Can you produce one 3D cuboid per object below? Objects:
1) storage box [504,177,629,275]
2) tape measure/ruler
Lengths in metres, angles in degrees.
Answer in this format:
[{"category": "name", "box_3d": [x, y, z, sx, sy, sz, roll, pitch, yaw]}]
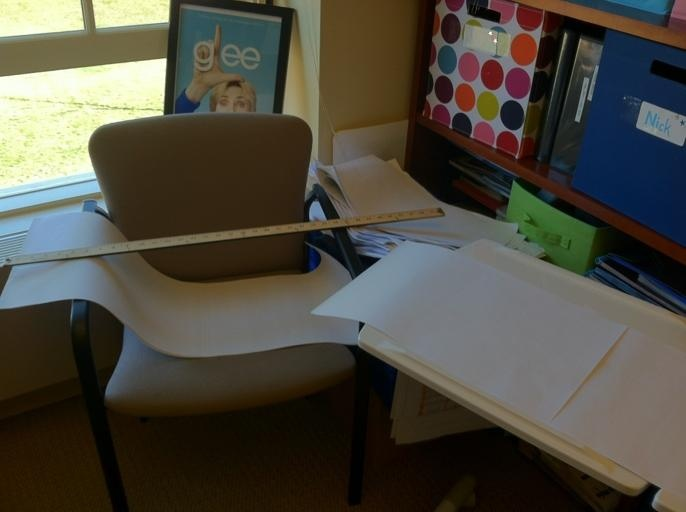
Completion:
[{"category": "storage box", "box_3d": [0.683, -0.030, 1.708, 0.215, 0.245, 0.347, -8, 46, -36]}, {"category": "tape measure/ruler", "box_3d": [-0.317, -0.054, 1.528, 1.341, 0.117, 0.021, -7, 2, -21]}]
